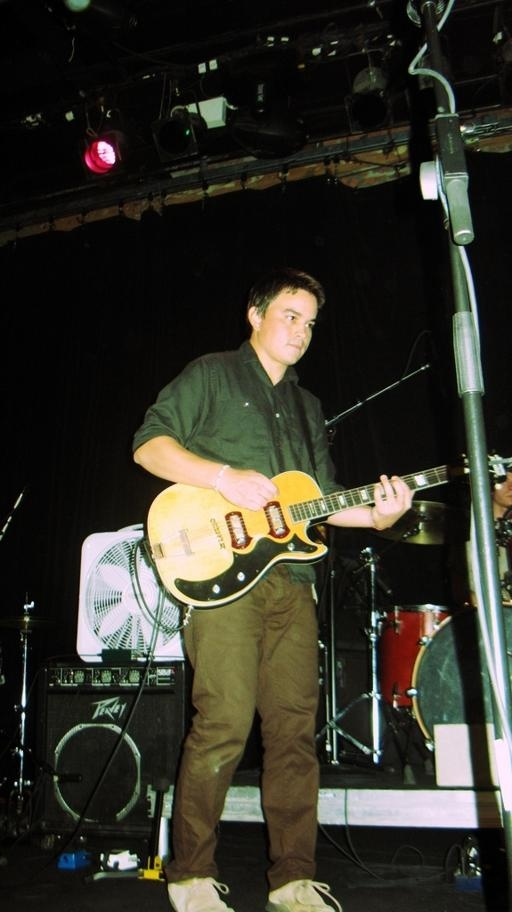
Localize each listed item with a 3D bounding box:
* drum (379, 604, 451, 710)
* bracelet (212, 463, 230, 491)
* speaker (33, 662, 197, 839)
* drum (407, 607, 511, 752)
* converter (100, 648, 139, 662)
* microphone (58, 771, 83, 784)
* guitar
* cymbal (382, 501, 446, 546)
[{"bbox_3d":[0.731,1.009,3.989,0.431,0.469,0.445,2,-3,-1],"label":"drum"},{"bbox_3d":[-0.115,0.071,2.471,0.020,0.071,0.054,5,-21,40],"label":"bracelet"},{"bbox_3d":[-0.579,1.261,3.321,0.673,0.682,0.514,-4,-17,18],"label":"speaker"},{"bbox_3d":[0.864,1.001,3.522,0.306,0.579,0.153,-3,-3,10],"label":"drum"},{"bbox_3d":[-0.602,0.873,3.364,0.121,0.029,0.069,1,-2,-1],"label":"converter"},{"bbox_3d":[-0.751,1.310,3.127,0.088,0.049,0.021,3,-8,3],"label":"microphone"},{"bbox_3d":[0.303,0.303,2.939,0.822,0.302,0.111,-13,-15,-18],"label":"guitar"},{"bbox_3d":[0.790,0.333,3.753,0.258,0.063,0.271,2,-33,8],"label":"cymbal"}]
